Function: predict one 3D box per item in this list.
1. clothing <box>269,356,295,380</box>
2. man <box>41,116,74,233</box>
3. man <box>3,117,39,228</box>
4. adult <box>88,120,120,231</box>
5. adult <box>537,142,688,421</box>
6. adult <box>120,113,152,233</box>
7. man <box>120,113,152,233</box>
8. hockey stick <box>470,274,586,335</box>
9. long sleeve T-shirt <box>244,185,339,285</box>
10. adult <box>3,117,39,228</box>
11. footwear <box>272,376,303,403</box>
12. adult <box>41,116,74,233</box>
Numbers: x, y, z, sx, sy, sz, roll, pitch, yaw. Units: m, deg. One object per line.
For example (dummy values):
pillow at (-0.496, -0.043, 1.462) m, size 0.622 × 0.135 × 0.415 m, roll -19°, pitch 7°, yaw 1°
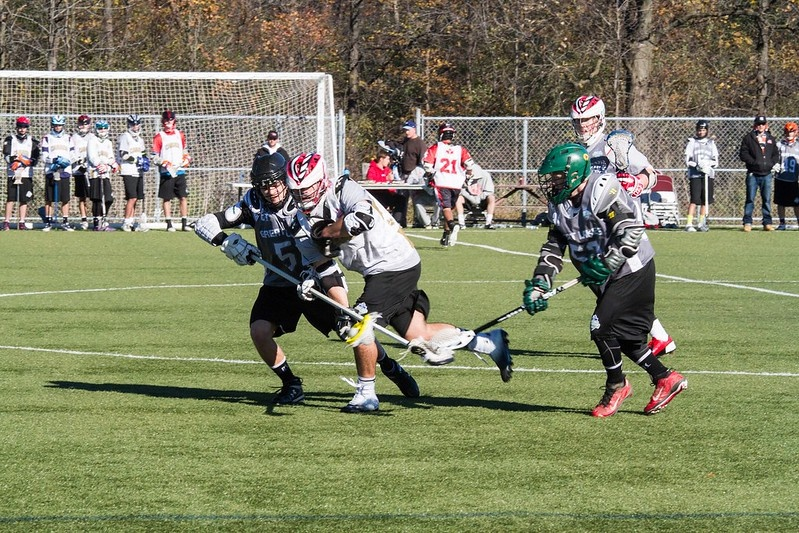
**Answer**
clothing at (-1.168, 1.014, 10.952) m, size 0.170 × 0.248 × 0.175 m, roll -36°, pitch 14°, yaw 17°
man at (-6.777, -1.837, 21.968) m, size 0.580 × 2.246 × 1.938 m, roll -1°, pitch 3°, yaw -17°
man at (-7.364, -1.794, 21.607) m, size 0.621 × 2.146 × 0.848 m, roll -2°, pitch 4°, yaw -27°
adult at (-5.786, -1.781, 21.651) m, size 0.569 × 2.170 × 1.556 m, roll -1°, pitch 3°, yaw -15°
adult at (1.919, 0.119, 10.480) m, size 1.400 × 2.579 × 0.485 m, roll 0°, pitch 3°, yaw 10°
adult at (-5.200, -1.806, 21.723) m, size 0.552 × 2.227 × 1.970 m, roll -1°, pitch 3°, yaw -13°
man at (-5.199, -1.806, 21.715) m, size 0.552 × 2.227 × 1.953 m, roll -1°, pitch 3°, yaw -13°
hockey stick at (1.519, 0.480, 13.131) m, size 1.725 × 0.248 × 0.079 m, roll -23°, pitch -36°, yaw 28°
long sleeve T-shirt at (-0.994, -0.319, 10.538) m, size 0.792 × 0.710 × 0.450 m, roll -20°, pitch 16°, yaw 41°
adult at (-7.360, -1.794, 21.596) m, size 0.620 × 2.146 × 0.824 m, roll -2°, pitch 4°, yaw -28°
footwear at (-1.052, 1.230, 10.700) m, size 0.151 × 0.211 × 0.390 m, roll -4°, pitch -5°, yaw 37°
adult at (-6.777, -1.837, 21.968) m, size 0.580 × 2.246 × 1.938 m, roll -1°, pitch 3°, yaw -17°
